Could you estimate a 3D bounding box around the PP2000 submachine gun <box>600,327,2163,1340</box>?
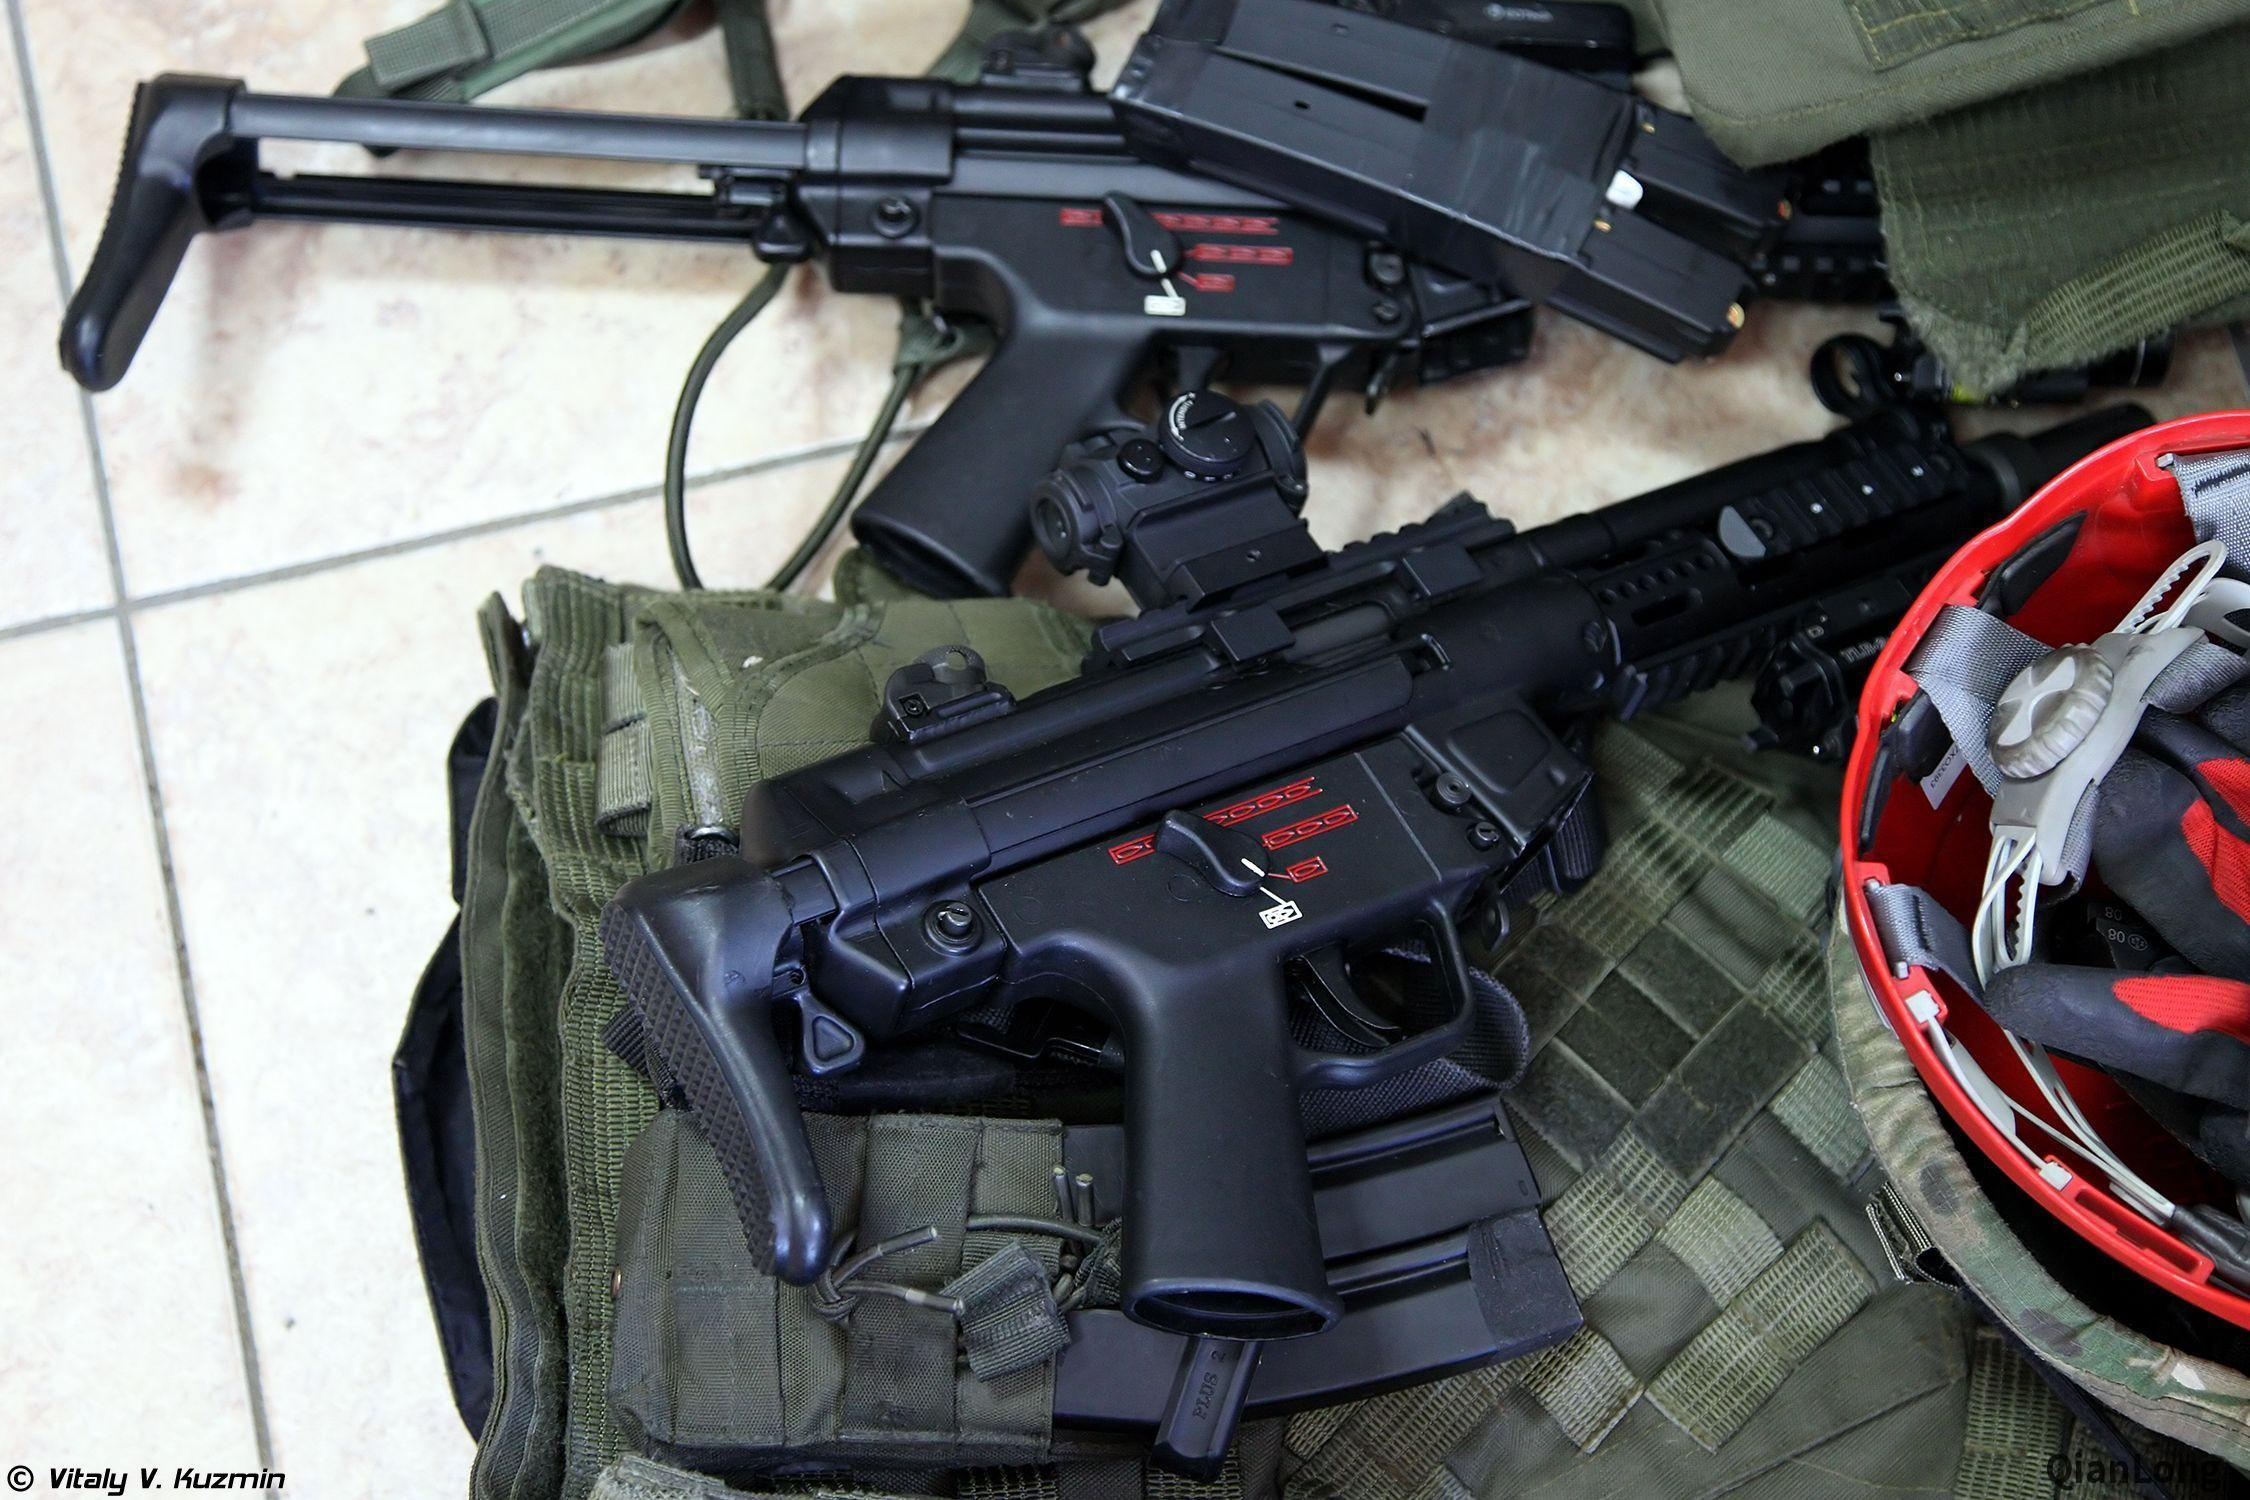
[{"bbox_3d":[0.233,0.097,1.655,1.327,0.813,0.223,-23,-8,-13],"label":"PP2000 submachine gun"}]
